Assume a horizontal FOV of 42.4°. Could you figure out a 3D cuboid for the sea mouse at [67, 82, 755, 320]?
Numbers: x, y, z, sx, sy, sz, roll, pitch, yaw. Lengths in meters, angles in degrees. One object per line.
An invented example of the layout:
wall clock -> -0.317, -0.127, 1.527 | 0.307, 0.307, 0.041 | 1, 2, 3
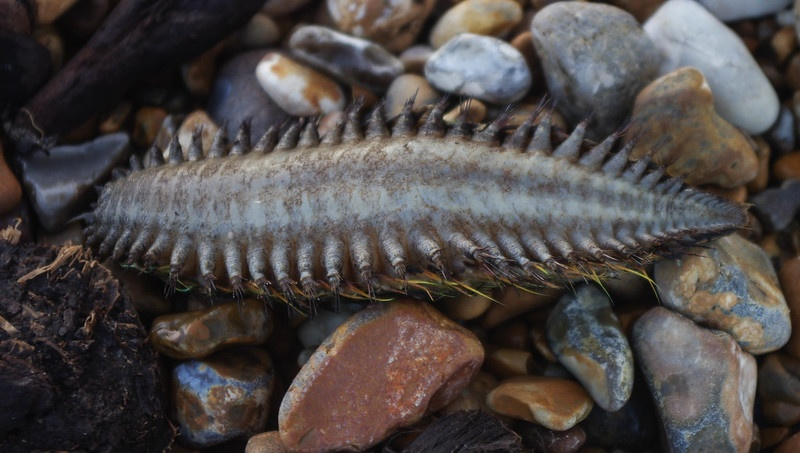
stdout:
sea mouse -> -0.048, -0.110, 9.677 | 5.453, 1.322, 1.589 | 4, 68, -5
